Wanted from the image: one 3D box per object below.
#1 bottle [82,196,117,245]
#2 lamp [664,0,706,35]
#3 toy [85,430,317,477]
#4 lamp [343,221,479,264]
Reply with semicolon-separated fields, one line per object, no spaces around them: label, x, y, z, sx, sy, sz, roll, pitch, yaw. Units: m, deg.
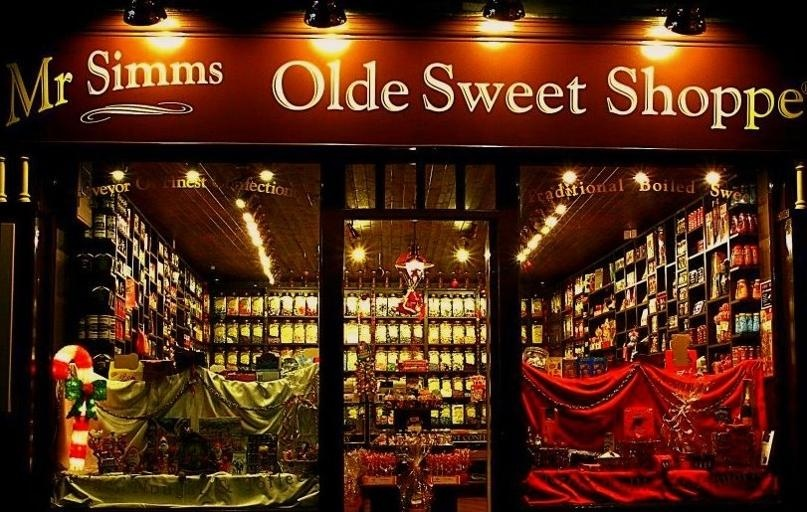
bottle;-3.435;-0.442;9.747;0.211;0.582;0.370;-11;-17;40
lamp;2.422;-2.014;7.288;0.312;0.277;0.297;-7;8;-30
toy;-1.833;1.767;7.653;2.019;0.368;0.148;-1;-13;3
lamp;0.173;-0.233;12.916;1.111;0.260;0.989;0;-18;-3
